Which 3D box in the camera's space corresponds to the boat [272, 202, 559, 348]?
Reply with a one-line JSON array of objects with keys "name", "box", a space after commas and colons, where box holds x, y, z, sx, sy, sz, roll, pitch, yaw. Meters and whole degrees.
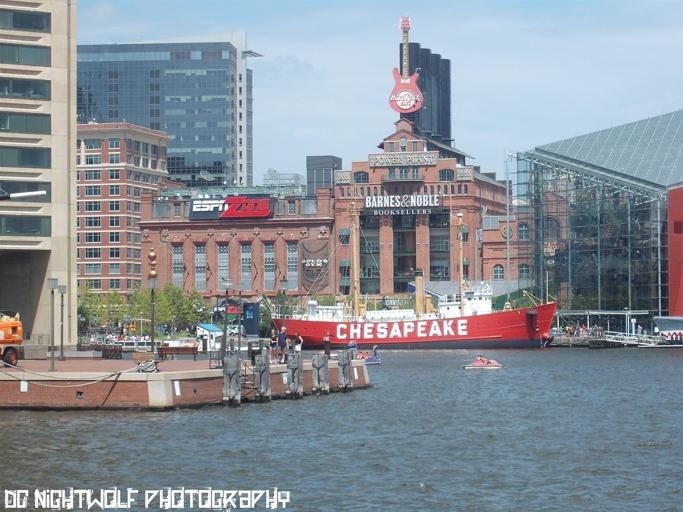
[{"name": "boat", "box": [8.144, 3.944, 215.681, 32.322, 14.752, 7.378, -1, 9, 6]}]
